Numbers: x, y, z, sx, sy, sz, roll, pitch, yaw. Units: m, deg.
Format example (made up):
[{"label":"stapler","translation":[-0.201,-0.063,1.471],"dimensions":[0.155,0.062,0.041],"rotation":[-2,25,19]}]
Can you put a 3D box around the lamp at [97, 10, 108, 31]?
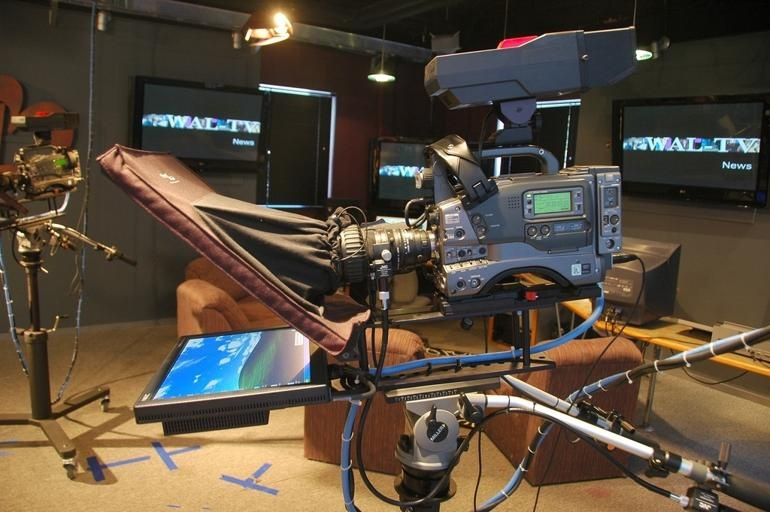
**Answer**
[{"label":"lamp","translation":[-2.638,-2.194,6.169],"dimensions":[0.123,0.170,0.282],"rotation":[-3,6,-21]}]

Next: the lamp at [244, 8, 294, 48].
[{"label":"lamp","translation":[-0.991,-1.855,5.405],"dimensions":[0.450,0.200,0.335],"rotation":[-7,4,25]}]

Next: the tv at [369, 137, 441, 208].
[{"label":"tv","translation":[0.139,-0.983,7.946],"dimensions":[0.699,0.910,0.256],"rotation":[0,6,11]}]
